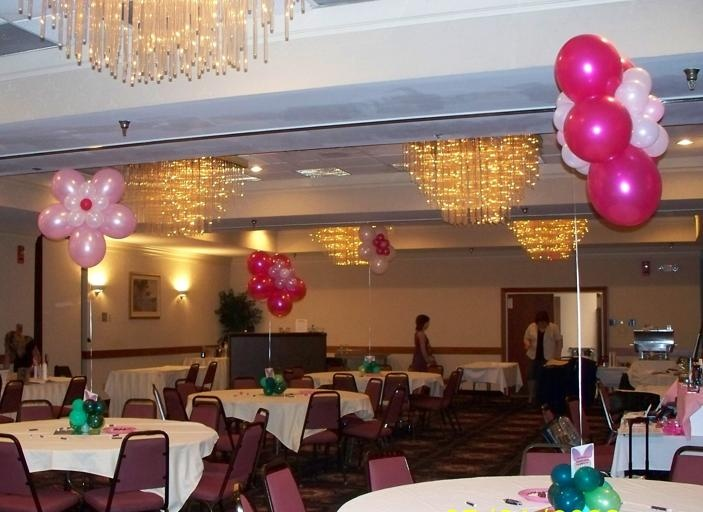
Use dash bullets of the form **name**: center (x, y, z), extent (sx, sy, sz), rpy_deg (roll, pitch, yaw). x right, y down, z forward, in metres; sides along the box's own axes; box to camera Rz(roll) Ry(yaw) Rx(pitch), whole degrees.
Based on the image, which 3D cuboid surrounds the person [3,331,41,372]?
- **person**: center (-5.530, 1.620, 10.501), extent (0.582, 0.939, 0.335), rpy_deg (-1, 4, 14)

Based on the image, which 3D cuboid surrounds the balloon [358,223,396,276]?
- **balloon**: center (0.430, -0.104, 10.621), extent (0.601, 0.792, 0.346), rpy_deg (-9, 7, -41)

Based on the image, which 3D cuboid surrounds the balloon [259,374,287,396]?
- **balloon**: center (-0.998, 1.642, 7.985), extent (0.236, 0.116, 0.255), rpy_deg (0, 11, 3)

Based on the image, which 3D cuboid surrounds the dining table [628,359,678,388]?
- **dining table**: center (4.809, 1.891, 10.048), extent (0.725, 0.357, 1.278), rpy_deg (-1, -4, 28)

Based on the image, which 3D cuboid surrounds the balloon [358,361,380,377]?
- **balloon**: center (0.325, 1.864, 10.384), extent (0.219, 0.133, 0.219), rpy_deg (2, -3, -36)

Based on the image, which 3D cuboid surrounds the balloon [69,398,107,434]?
- **balloon**: center (-2.379, 1.446, 5.726), extent (0.341, 0.369, 0.235), rpy_deg (3, -10, -26)

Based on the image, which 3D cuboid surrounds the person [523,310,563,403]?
- **person**: center (3.794, 2.058, 12.636), extent (0.722, 1.991, 0.651), rpy_deg (3, 12, 17)

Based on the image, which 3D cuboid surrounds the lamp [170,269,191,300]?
- **lamp**: center (-4.066, 0.688, 14.879), extent (0.203, 0.892, 0.665), rpy_deg (-1, -2, 29)

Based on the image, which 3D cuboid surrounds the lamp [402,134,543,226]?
- **lamp**: center (1.440, -0.907, 7.389), extent (0.946, 1.030, 0.240), rpy_deg (-3, 27, 6)

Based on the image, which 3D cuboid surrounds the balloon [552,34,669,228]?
- **balloon**: center (1.712, -0.841, 4.302), extent (0.619, 1.231, 0.933), rpy_deg (-2, -4, 40)

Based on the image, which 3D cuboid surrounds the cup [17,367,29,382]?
- **cup**: center (-4.813, 1.734, 9.213), extent (0.158, 0.204, 0.171), rpy_deg (1, 3, 0)

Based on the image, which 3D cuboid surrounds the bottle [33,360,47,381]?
- **bottle**: center (-4.781, 1.773, 9.689), extent (0.222, 0.272, 0.239), rpy_deg (1, 0, 12)

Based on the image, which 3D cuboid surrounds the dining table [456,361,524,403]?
- **dining table**: center (2.974, 2.651, 13.504), extent (1.215, 0.871, 2.718), rpy_deg (1, -4, 10)

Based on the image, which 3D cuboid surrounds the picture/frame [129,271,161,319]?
- **picture/frame**: center (-4.577, 0.894, 13.943), extent (0.161, 0.966, 0.973), rpy_deg (0, -4, 21)

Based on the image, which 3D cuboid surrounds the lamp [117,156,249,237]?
- **lamp**: center (-2.160, -0.810, 8.405), extent (1.338, 0.811, 0.957), rpy_deg (0, 2, 23)

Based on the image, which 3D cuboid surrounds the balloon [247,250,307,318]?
- **balloon**: center (-1.272, 0.424, 10.328), extent (0.881, 1.058, 0.396), rpy_deg (-4, 1, -8)
